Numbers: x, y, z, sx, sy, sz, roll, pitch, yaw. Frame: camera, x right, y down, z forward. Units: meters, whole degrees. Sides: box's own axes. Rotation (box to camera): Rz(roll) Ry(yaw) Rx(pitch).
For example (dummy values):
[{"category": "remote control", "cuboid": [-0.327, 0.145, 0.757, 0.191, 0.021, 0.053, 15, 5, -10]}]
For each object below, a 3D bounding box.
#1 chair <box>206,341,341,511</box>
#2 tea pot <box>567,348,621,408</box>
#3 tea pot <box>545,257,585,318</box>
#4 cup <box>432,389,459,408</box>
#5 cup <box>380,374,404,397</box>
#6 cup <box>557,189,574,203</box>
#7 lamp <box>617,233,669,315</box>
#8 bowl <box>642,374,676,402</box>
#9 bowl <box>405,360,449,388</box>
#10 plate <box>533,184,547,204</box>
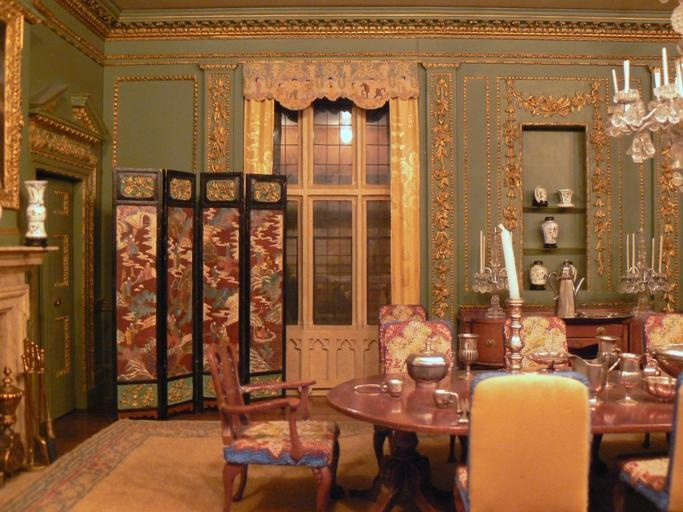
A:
[{"category": "chair", "cuboid": [-0.481, 1.221, 4.933, 0.908, 1.185, 0.705, 0, 11, 2]}, {"category": "tea pot", "cuboid": [1.654, 0.818, 4.582, 0.424, 0.456, 0.234, 2, -3, 4]}, {"category": "tea pot", "cuboid": [2.188, 0.322, 6.784, 0.493, 0.746, 0.259, 0, -4, 3]}, {"category": "cup", "cuboid": [0.688, 0.925, 4.495, 0.137, 0.107, 0.105, 1, -2, 3]}, {"category": "cup", "cuboid": [0.342, 0.881, 4.677, 0.130, 0.097, 0.111, 0, -3, 7]}, {"category": "cup", "cuboid": [2.312, -0.621, 7.105, 0.138, 0.155, 0.139, 0, -5, 0]}, {"category": "lamp", "cuboid": [3.034, 0.159, 6.888, 0.449, 0.761, 0.892, 5, 13, 25]}, {"category": "bowl", "cuboid": [2.114, 0.860, 4.558, 0.192, 0.114, 0.189, 1, 1, 0]}, {"category": "bowl", "cuboid": [0.602, 0.805, 4.776, 0.211, 0.157, 0.215, 0, 2, 0]}, {"category": "plate", "cuboid": [2.082, -0.640, 7.170, 0.141, 0.191, 0.122, 2, 12, 12]}]
